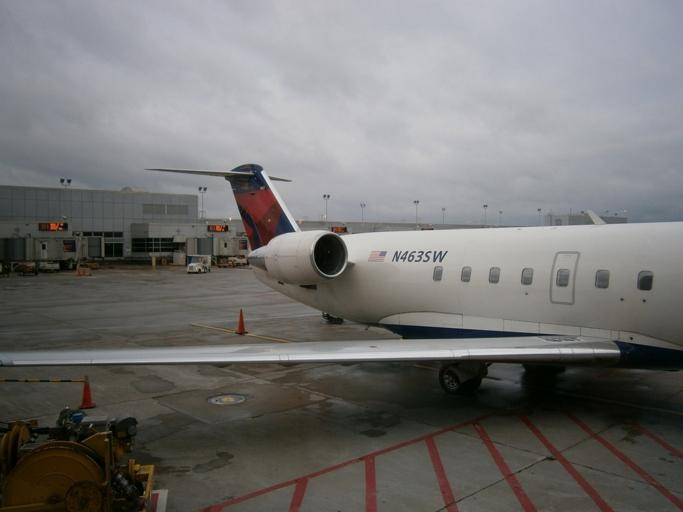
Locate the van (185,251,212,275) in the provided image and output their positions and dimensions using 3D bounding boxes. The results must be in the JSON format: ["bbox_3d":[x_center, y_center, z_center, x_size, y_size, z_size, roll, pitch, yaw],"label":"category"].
[{"bbox_3d":[-14.605,0.842,53.604,1.938,1.748,3.308,1,4,17],"label":"van"}]
